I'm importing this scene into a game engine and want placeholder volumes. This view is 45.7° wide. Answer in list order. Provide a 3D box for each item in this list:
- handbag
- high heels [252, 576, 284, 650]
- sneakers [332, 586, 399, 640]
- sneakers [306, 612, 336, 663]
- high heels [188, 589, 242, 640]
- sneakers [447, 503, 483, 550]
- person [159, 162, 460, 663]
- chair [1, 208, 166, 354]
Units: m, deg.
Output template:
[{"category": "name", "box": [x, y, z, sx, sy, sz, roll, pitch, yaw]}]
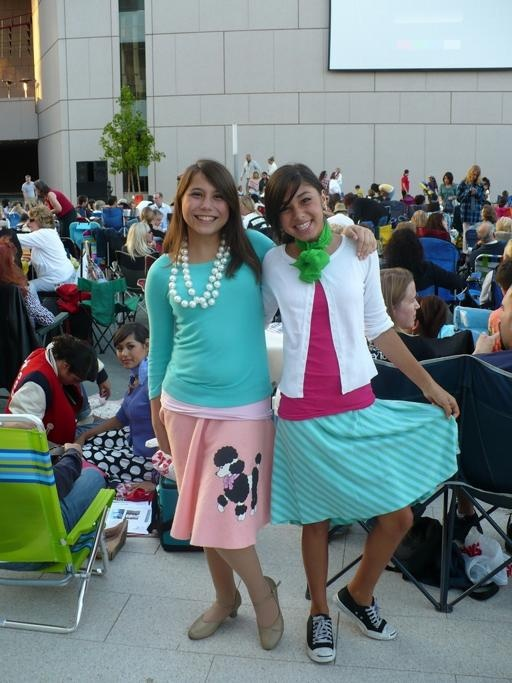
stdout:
[{"category": "handbag", "box": [0.662, 0.801, 2.254, 0.241, 0.119, 0.325, -6, 16, -19]}, {"category": "high heels", "box": [0.035, 0.839, 1.887, 0.076, 0.219, 0.061, -5, 5, 26]}, {"category": "sneakers", "box": [0.345, 0.863, 1.940, 0.234, 0.098, 0.089, 37, 16, 11]}, {"category": "sneakers", "box": [0.193, 0.881, 1.780, 0.054, 0.060, 0.156, -1, -6, 1]}, {"category": "high heels", "box": [-0.125, 0.869, 1.998, 0.078, 0.102, 0.237, 7, 12, 40]}, {"category": "sneakers", "box": [0.852, 0.749, 2.461, 0.053, 0.131, 0.129, -36, 47, -5]}, {"category": "person", "box": [0.298, 0.222, 1.742, 0.539, 1.431, 0.257, -2, 7, -1]}, {"category": "chair", "box": [-1.835, -0.683, 6.416, 1.464, 0.907, 1.416, -3, 8, -22]}]
